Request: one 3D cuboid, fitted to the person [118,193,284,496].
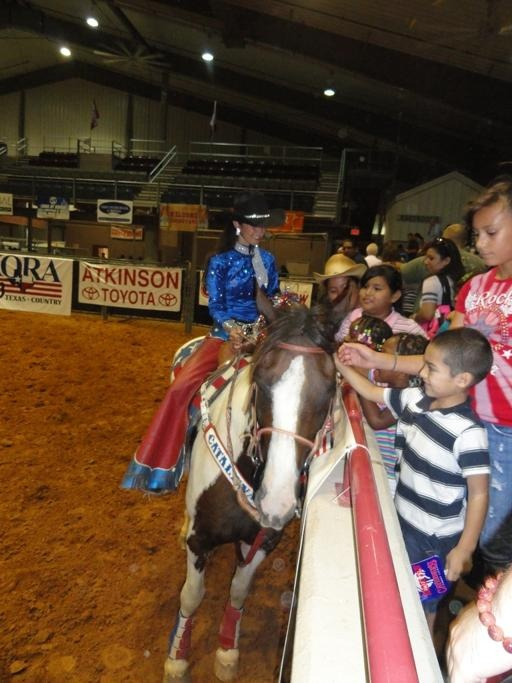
[{"bbox_3d":[-0.219,0.022,2.868,0.879,1.890,0.581,-2,18,-42],"label":"person"}]
